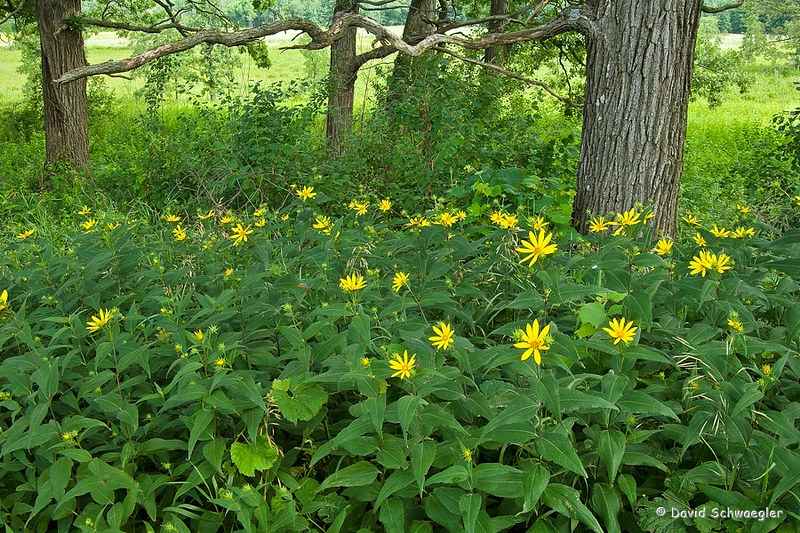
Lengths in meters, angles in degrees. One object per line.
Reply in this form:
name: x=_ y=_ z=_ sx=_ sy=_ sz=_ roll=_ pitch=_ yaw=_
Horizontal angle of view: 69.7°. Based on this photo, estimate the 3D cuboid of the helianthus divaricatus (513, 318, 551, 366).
helianthus divaricatus: x=0.639 y=0.359 z=2.735 sx=0.160 sy=0.212 sz=0.148 roll=7 pitch=19 yaw=16
